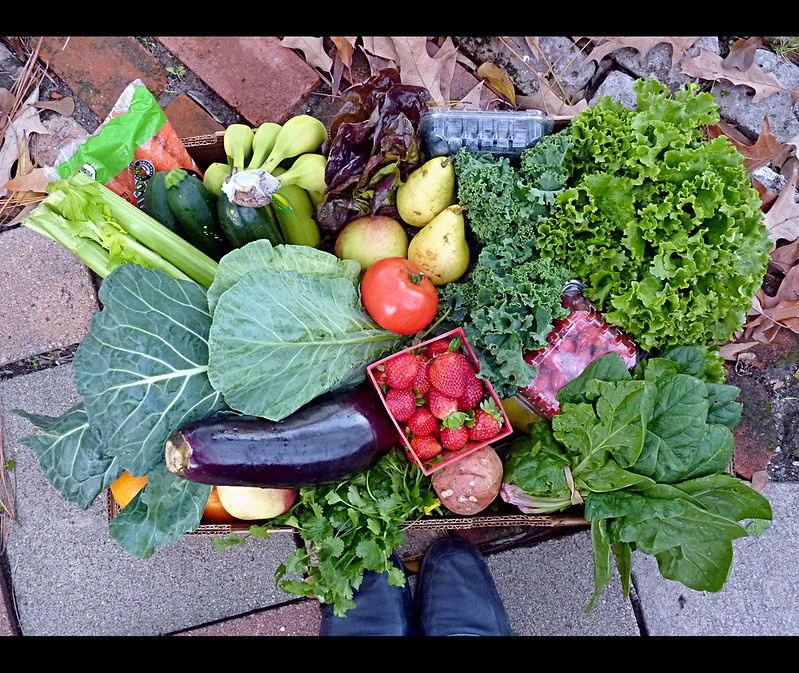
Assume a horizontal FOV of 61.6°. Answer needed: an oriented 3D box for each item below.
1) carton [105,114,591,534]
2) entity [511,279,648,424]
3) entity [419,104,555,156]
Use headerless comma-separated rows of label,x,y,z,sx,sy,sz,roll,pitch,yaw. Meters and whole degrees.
carton,-0.155,0.257,2.395,1.378,0.477,1.168,-11,102,4
entity,0.469,0.026,1.960,0.388,0.141,0.331,-40,106,-7
entity,0.252,-0.578,1.907,0.296,0.104,0.173,0,91,-1
